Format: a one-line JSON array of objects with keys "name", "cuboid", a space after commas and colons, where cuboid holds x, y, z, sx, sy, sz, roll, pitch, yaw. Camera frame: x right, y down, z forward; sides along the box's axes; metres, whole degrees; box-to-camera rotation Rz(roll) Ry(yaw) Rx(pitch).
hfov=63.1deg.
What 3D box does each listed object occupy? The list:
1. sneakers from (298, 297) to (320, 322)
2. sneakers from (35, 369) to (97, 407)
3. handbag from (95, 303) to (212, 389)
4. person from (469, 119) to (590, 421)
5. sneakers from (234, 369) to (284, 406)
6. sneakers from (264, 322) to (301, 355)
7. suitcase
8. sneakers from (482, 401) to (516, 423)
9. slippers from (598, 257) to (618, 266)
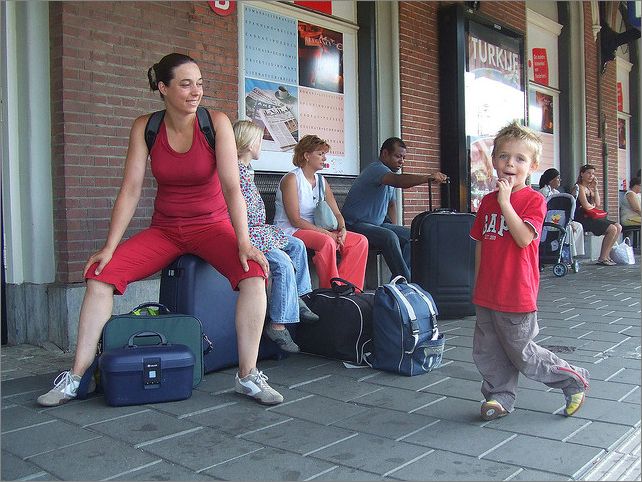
[{"name": "sneakers", "cuboid": [-0.108, 0.555, 4.086, 0.242, 0.177, 0.091, -1, 0, 32]}, {"name": "sneakers", "cuboid": [-1.587, 0.914, 3.233, 0.286, 0.179, 0.175, -1, 5, -5]}, {"name": "handbag", "cuboid": [-1.071, 0.674, 3.297, 0.554, 0.452, 0.181, 2, 5, -10]}, {"name": "person", "cuboid": [1.169, 0.170, 2.974, 0.599, 1.667, 0.374, 1, 5, 15]}, {"name": "sneakers", "cuboid": [-0.384, 0.914, 3.337, 0.397, 0.186, 0.134, 12, 12, 28]}, {"name": "sneakers", "cuboid": [-0.298, 0.750, 4.077, 0.139, 0.331, 0.149, -48, 2, 29]}, {"name": "suitcase", "cuboid": [-1.052, 0.813, 3.167, 0.638, 0.464, 0.379, -1, 7, -16]}, {"name": "sneakers", "cuboid": [1.002, 0.948, 2.940, 0.177, 0.109, 0.085, -2, 3, -23]}, {"name": "slippers", "cuboid": [5.349, 0.391, 9.701, 0.289, 0.098, 0.156, 2, 6, 8]}]
